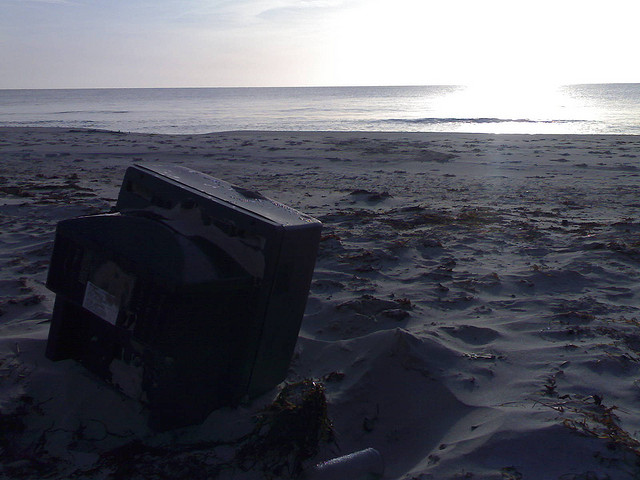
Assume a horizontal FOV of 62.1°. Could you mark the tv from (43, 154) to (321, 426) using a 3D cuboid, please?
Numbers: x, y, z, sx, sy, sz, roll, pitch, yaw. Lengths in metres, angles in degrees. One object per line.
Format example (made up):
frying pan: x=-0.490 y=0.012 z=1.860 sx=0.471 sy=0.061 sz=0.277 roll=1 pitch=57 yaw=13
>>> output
tv: x=-0.641 y=0.190 z=3.686 sx=1.930 sy=1.235 sz=1.880 roll=-9 pitch=19 yaw=-32
